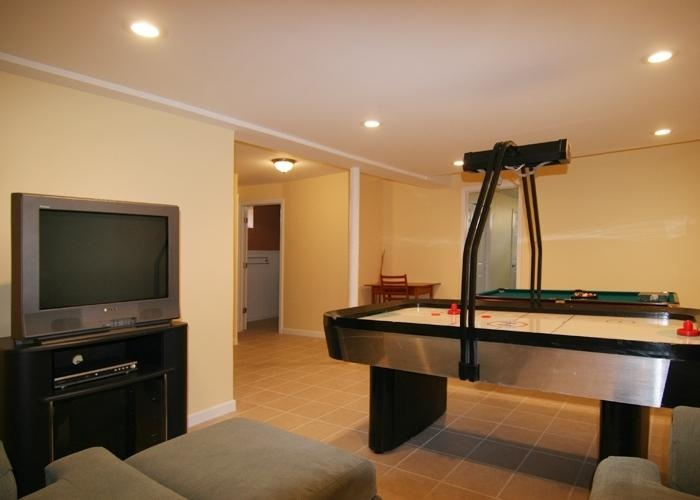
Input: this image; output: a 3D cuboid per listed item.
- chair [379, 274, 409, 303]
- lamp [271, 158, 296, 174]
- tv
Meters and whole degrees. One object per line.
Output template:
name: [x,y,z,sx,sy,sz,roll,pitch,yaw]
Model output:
chair: [0.697,0.546,7.401,0.394,0.602,0.396,0,4,21]
lamp: [-0.863,-1.060,6.518,0.184,0.097,0.183,-1,-1,-37]
tv: [-1.729,0.156,3.428,0.423,0.961,1.111,-4,-4,41]
